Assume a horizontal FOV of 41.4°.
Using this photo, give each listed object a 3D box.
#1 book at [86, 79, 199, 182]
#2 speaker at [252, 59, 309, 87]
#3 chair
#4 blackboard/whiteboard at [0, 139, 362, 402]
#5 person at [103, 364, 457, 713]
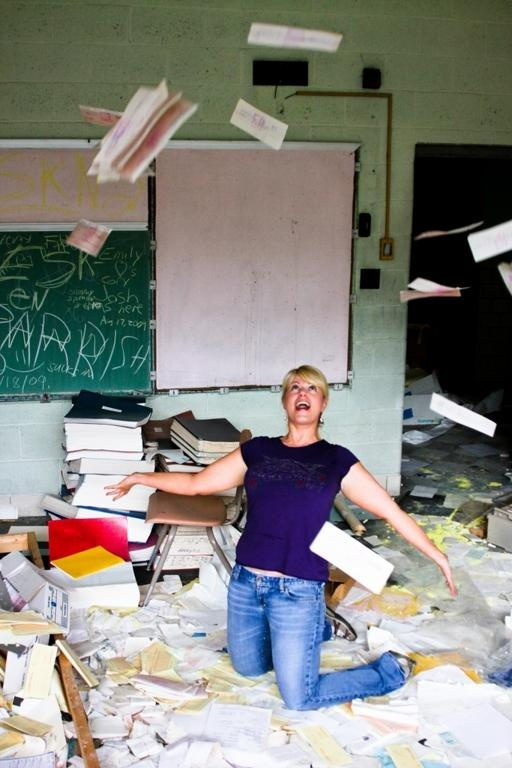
[{"bbox_3d":[-0.348,-0.745,2.031,0.357,0.272,0.145,9,13,39],"label":"book"},{"bbox_3d":[0.149,-1.772,3.843,0.353,0.147,0.069,-2,8,-7],"label":"speaker"},{"bbox_3d":[-0.253,0.611,3.059,0.493,0.641,0.436,3,10,1],"label":"chair"},{"bbox_3d":[-0.498,-0.683,3.831,1.674,1.045,0.072,-1,5,-14],"label":"blackboard/whiteboard"},{"bbox_3d":[0.173,0.505,2.401,1.285,1.044,0.703,2,0,17],"label":"person"}]
